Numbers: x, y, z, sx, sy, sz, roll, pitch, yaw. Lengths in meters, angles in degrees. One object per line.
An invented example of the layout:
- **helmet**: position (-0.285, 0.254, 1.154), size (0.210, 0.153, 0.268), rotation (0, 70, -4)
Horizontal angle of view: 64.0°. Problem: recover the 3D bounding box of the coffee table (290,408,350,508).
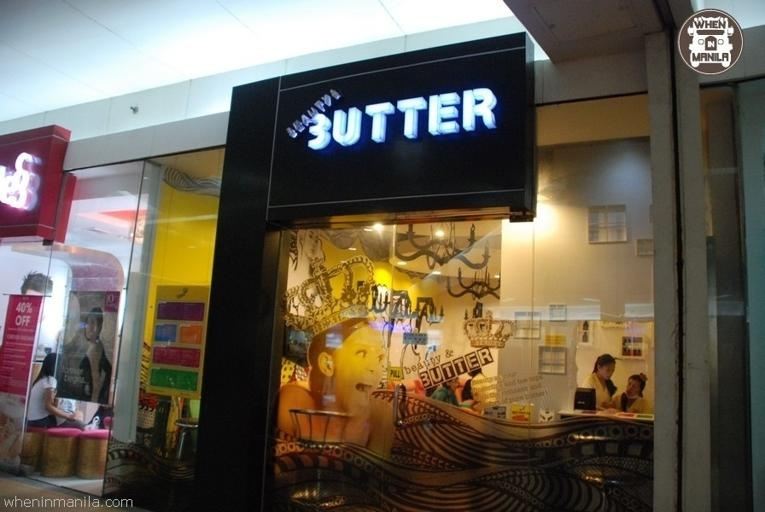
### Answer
- **coffee table**: position (-0.770, 2.233, 6.995), size (0.910, 1.111, 0.892), rotation (2, -6, -11)
